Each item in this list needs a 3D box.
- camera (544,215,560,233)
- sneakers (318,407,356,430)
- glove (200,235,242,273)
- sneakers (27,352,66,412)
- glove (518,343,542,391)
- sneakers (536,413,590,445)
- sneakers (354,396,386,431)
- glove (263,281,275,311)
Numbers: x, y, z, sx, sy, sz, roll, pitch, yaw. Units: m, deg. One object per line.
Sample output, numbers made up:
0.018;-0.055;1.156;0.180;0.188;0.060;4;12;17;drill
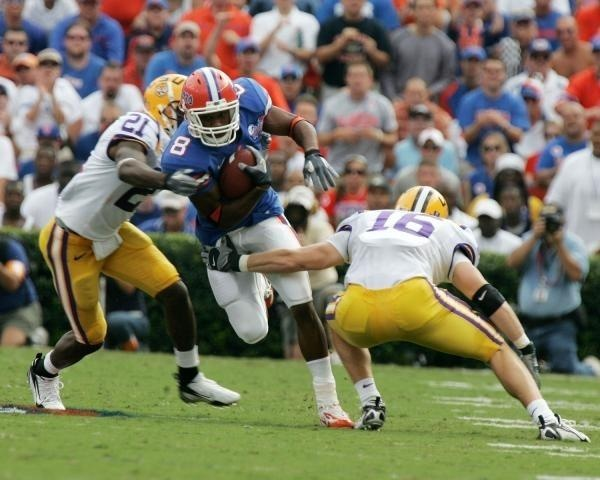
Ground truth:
2.384;-0.150;9.456;0.114;0.158;0.141;2;-9;-4;camera
0.243;1.195;6.621;0.110;0.099;0.217;-3;-2;-42;sneakers
-0.523;0.092;6.727;0.067;0.138;0.222;-16;19;-42;glove
-1.716;0.985;6.739;0.154;0.338;0.116;-43;-16;31;sneakers
1.552;0.818;6.474;0.108;0.332;0.141;-30;-12;13;glove
1.610;1.206;6.286;0.400;0.186;0.143;7;-15;2;sneakers
0.456;1.154;6.522;0.103;0.155;0.290;7;-23;-9;sneakers
-0.218;0.403;7.117;0.063;0.162;0.110;0;-2;-27;glove
